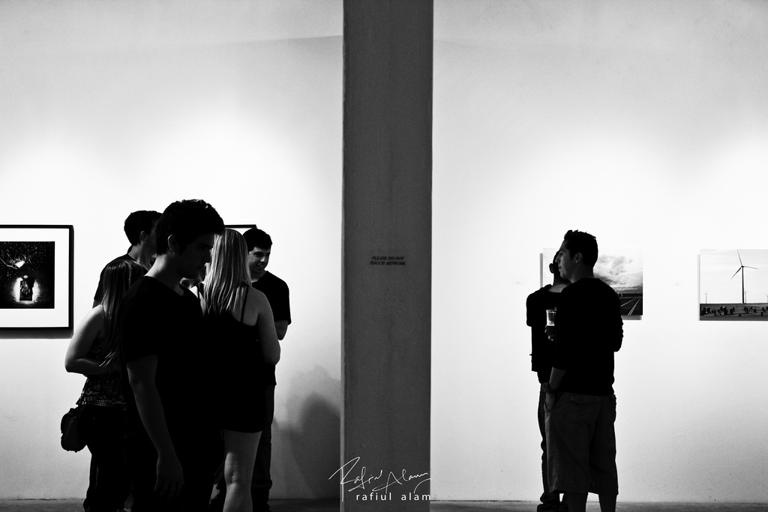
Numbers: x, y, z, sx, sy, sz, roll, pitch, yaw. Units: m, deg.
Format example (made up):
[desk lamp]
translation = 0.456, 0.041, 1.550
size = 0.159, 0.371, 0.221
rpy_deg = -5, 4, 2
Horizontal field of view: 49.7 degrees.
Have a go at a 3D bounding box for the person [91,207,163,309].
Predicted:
[person]
translation = -2.369, 0.234, 7.773
size = 0.658, 1.134, 1.271
rpy_deg = 0, 4, -21
